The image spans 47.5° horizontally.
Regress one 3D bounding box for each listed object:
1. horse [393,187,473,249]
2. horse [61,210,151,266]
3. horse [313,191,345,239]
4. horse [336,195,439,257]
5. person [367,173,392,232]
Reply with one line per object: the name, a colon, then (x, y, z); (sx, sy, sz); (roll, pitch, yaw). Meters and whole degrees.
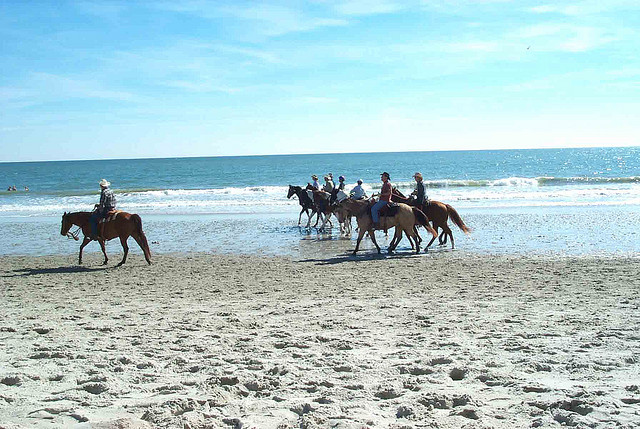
horse: (3.544, 0.064, 23.980); (0.723, 1.845, 3.181); (2, -1, -44)
horse: (-6.404, 0.637, 21.700); (3.023, 1.553, 0.737); (-1, -2, 13)
horse: (0.421, -0.202, 28.035); (2.161, 1.333, 0.496); (8, 6, 40)
horse: (1.954, 0.346, 22.831); (3.023, 1.679, 0.801); (0, 6, 17)
person: (1.863, -0.413, 22.325); (0.652, 1.797, 1.013); (-5, 10, -22)
